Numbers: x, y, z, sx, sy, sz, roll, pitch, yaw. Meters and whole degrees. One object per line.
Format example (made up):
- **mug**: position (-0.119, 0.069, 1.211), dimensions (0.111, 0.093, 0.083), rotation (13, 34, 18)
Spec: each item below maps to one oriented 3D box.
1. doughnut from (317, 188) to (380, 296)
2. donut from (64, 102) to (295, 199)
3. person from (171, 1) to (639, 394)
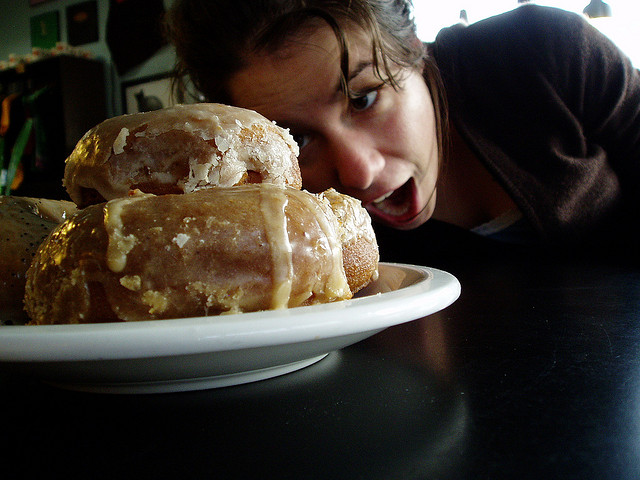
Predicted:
- **doughnut**: position (0.058, 0.004, 0.890), dimensions (0.077, 0.147, 0.107), rotation (-9, 6, 21)
- **donut**: position (-0.200, -0.116, 0.820), dimensions (0.197, 0.107, 0.174), rotation (-6, 5, 5)
- **person**: position (0.188, -0.131, 1.123), dimensions (0.677, 0.259, 0.759), rotation (-3, 16, 6)
